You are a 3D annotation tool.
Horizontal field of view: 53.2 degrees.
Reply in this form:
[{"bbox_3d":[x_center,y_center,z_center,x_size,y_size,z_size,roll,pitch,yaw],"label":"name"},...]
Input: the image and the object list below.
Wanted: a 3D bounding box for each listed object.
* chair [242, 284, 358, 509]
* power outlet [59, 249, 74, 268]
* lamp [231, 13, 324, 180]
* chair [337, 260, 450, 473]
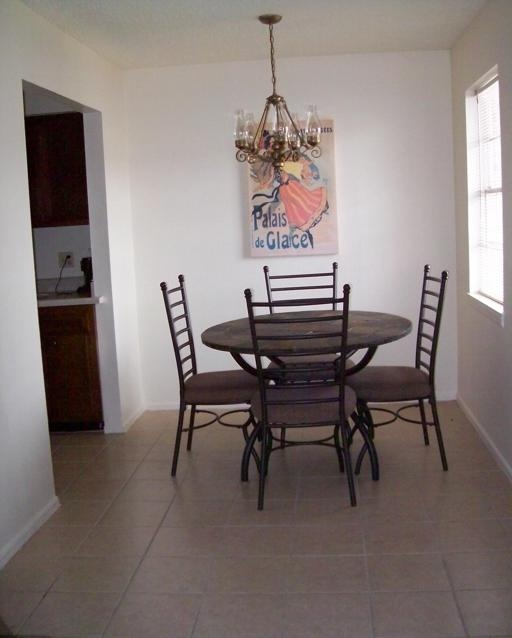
[{"bbox_3d":[0.212,0.320,2.459,0.499,1.033,0.622,-2,9,8],"label":"chair"},{"bbox_3d":[-1.481,-0.472,4.011,0.114,0.125,0.074,-1,-3,4],"label":"power outlet"},{"bbox_3d":[0.096,-1.124,2.528,0.372,0.691,0.380,-17,23,-28],"label":"lamp"},{"bbox_3d":[0.750,0.255,2.793,0.504,1.023,0.516,-1,4,3],"label":"chair"}]
